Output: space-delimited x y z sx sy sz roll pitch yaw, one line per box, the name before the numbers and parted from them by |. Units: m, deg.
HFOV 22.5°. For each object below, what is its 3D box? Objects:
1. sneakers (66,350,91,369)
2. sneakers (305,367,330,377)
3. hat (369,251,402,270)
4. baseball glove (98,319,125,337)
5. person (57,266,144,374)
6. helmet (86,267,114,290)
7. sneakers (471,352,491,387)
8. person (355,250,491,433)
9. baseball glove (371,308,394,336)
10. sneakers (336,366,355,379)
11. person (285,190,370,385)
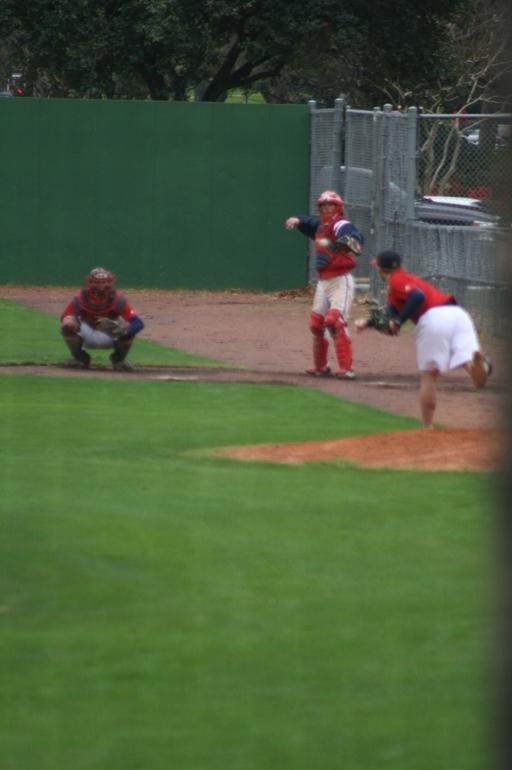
sneakers | -1.360 -0.191 9.870 0.109 0.175 0.171 2 1 -8
sneakers | 0.465 -0.093 9.642 0.190 0.089 0.071 7 6 1
hat | 0.721 -0.685 7.086 0.110 0.094 0.168 -8 31 -14
baseball glove | -1.004 -0.399 8.967 0.181 0.164 0.225 0 14 -7
person | -1.103 -0.474 9.063 0.645 0.862 0.704 1 12 -3
helmet | -1.053 -0.712 8.718 0.171 0.148 0.252 0 14 -10
sneakers | 1.195 -0.072 6.887 0.097 0.210 0.086 -6 -8 -13
person | 0.927 -0.242 7.043 0.933 0.973 0.329 5 10 43
baseball glove | 0.677 -0.349 7.035 0.096 0.051 0.156 15 21 -19
sneakers | 0.653 -0.085 9.421 0.116 0.118 0.062 9 20 12
person | 0.495 -0.667 9.255 0.487 1.446 1.191 3 14 4
